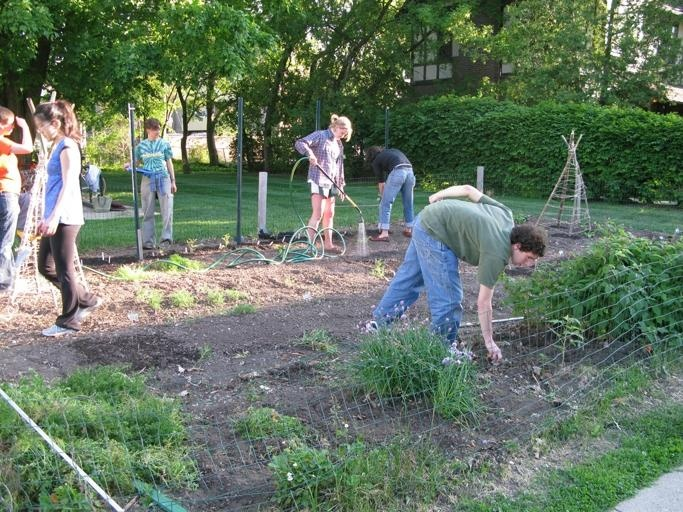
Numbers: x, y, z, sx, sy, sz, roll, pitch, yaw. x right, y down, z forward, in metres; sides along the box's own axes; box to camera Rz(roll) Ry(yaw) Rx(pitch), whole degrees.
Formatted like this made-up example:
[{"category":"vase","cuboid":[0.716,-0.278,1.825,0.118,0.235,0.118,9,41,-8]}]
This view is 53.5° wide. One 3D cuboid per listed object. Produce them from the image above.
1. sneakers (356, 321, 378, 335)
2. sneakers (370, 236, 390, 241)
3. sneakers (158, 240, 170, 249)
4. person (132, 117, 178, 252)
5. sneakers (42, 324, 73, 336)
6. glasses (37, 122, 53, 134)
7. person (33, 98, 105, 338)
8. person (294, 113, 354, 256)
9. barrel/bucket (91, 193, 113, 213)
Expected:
[{"category":"sneakers","cuboid":[0.256,0.712,6.619,0.171,0.137,0.186,-5,9,-18]},{"category":"sneakers","cuboid":[0.624,-0.285,11.052,0.265,0.084,0.101,4,4,11]},{"category":"sneakers","cuboid":[-2.604,-0.162,10.040,0.126,0.138,0.100,-6,11,-43]},{"category":"person","cuboid":[-2.684,-1.014,9.873,0.524,1.889,0.518,-2,4,-15]},{"category":"sneakers","cuboid":[-2.902,0.785,6.980,0.291,0.133,0.115,7,1,-22]},{"category":"glasses","cuboid":[-2.930,-1.265,6.739,0.038,0.130,0.119,-22,16,-23]},{"category":"person","cuboid":[-2.816,-0.389,6.935,0.551,2.417,0.468,-2,4,-24]},{"category":"person","cuboid":[-0.235,-1.110,10.136,0.787,2.101,1.197,0,4,0]},{"category":"barrel/bucket","cuboid":[-4.860,-1.036,13.803,0.410,0.327,0.408,-1,2,0]}]
